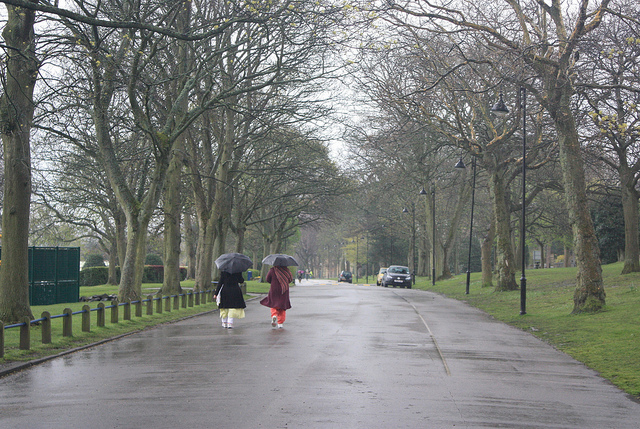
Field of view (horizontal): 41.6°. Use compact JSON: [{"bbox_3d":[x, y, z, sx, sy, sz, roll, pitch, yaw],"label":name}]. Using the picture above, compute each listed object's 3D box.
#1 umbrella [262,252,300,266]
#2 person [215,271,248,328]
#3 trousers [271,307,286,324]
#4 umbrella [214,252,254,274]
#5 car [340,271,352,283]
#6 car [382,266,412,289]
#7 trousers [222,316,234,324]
[{"bbox_3d":[-1.564,1.860,33.936,1.218,0.628,2.370,-2,-10,0],"label":"umbrella"},{"bbox_3d":[-3.520,3.357,33.068,1.094,2.199,0.552,-1,-8,-9],"label":"person"},{"bbox_3d":[-1.576,3.971,32.975,0.278,0.647,0.634,-8,-11,36],"label":"trousers"},{"bbox_3d":[-3.374,1.906,33.079,1.336,0.817,0.820,-1,-9,-11],"label":"umbrella"},{"bbox_3d":[3.341,8.033,107.060,1.586,1.361,2.663,2,3,0],"label":"car"},{"bbox_3d":[6.370,5.315,69.975,1.314,1.163,2.873,2,4,3],"label":"car"},{"bbox_3d":[-3.629,4.161,32.971,0.152,0.299,0.557,6,-13,-43],"label":"trousers"}]
